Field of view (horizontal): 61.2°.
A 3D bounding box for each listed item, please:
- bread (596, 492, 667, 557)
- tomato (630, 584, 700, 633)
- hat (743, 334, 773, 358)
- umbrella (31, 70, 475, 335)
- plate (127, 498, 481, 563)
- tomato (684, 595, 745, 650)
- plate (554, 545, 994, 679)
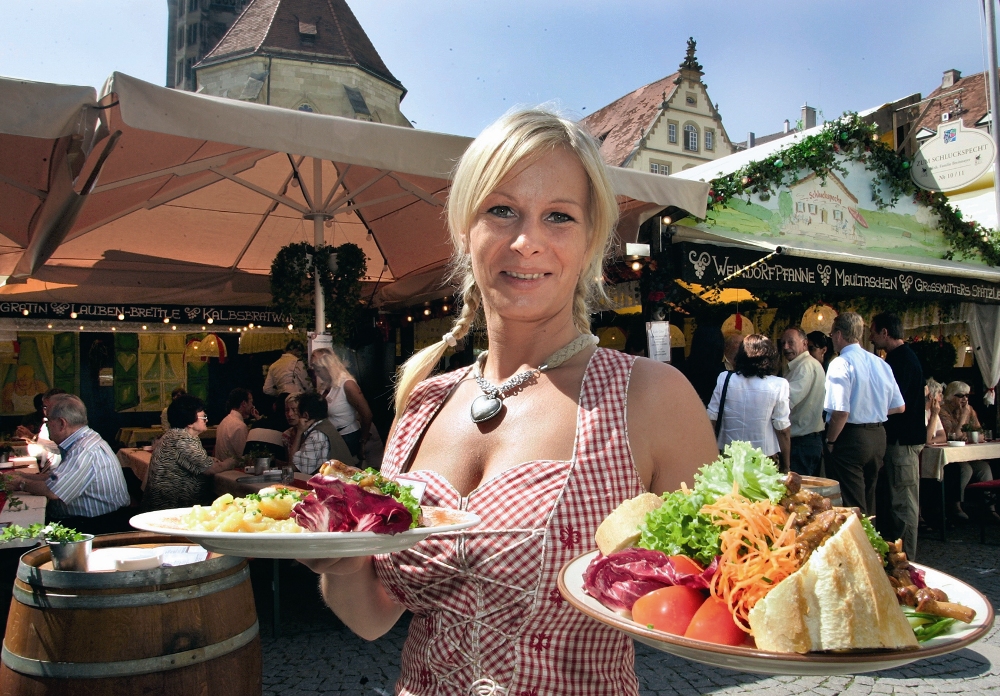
[{"bbox_3d":[0.421,0.576,2.868,0.198,0.196,0.215,-1,3,-21],"label":"bread"},{"bbox_3d":[0.509,0.816,2.614,0.174,0.127,0.097,-25,-26,2],"label":"tomato"},{"bbox_3d":[2.573,-0.019,8.455,0.195,0.205,0.256,-9,-2,-22],"label":"hat"},{"bbox_3d":[-2.655,-1.227,8.698,4.087,1.999,3.988,3,-9,-33],"label":"umbrella"},{"bbox_3d":[-0.687,0.675,2.983,1.228,0.123,0.357,-1,-1,0],"label":"plate"},{"bbox_3d":[0.662,0.865,2.630,0.141,0.143,0.192,-24,-26,40],"label":"tomato"},{"bbox_3d":[0.855,0.828,2.627,1.341,0.318,0.357,-1,-1,4],"label":"plate"}]
